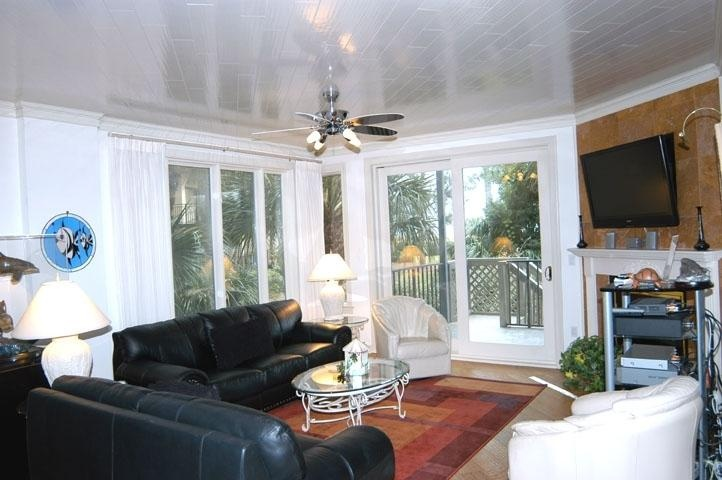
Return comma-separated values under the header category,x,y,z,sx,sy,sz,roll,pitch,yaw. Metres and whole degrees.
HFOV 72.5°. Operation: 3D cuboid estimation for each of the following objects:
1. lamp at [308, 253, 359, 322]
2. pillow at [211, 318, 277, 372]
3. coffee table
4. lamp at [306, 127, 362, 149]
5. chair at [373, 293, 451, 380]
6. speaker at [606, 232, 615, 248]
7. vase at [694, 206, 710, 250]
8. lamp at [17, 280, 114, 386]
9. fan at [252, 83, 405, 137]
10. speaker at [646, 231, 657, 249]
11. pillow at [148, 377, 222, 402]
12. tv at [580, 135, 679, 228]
category,x,y,z,sx,sy,sz,roll,pitch,yaw
lamp,-0.370,0.619,6.688,0.674,0.858,0.683,-2,-3,-17
pillow,-1.300,1.110,5.434,0.216,0.423,0.747,-40,-18,34
coffee table,-0.113,1.526,4.888,0.740,0.395,0.914,-4,-1,38
lamp,-0.284,-1.131,5.435,0.604,0.168,0.654,4,4,30
chair,0.623,1.273,6.351,0.974,0.862,0.867,0,5,-22
speaker,2.850,0.005,5.610,0.087,0.169,0.119,0,9,19
vase,3.318,-0.124,4.782,0.113,0.417,0.295,3,10,34
lamp,-2.636,0.892,4.415,0.804,0.948,0.819,-6,0,-25
fan,-0.136,-1.227,4.453,1.280,0.375,1.251,-7,10,-18
speaker,3.092,0.002,5.234,0.111,0.179,0.241,2,9,29
pillow,-1.326,1.123,3.713,0.468,0.146,0.370,9,-8,-5
tv,2.835,-0.572,5.307,1.108,0.924,0.090,-9,0,-14
